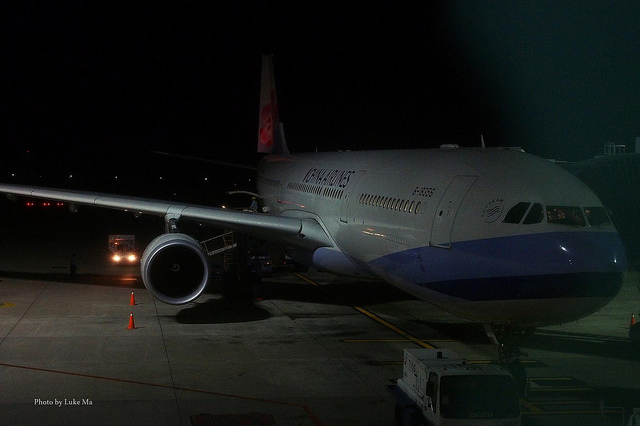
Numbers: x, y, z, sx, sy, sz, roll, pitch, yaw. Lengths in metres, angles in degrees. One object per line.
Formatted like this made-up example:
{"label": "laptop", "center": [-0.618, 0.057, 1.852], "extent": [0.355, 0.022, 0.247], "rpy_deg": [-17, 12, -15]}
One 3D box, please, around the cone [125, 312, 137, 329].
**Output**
{"label": "cone", "center": [-6.021, 3.469, 15.888], "extent": [0.411, 0.386, 0.381], "rpy_deg": [0, 0, -4]}

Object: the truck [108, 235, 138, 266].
{"label": "truck", "center": [-11.814, 2.196, 29.849], "extent": [1.928, 1.702, 0.772], "rpy_deg": [6, -6, -7]}

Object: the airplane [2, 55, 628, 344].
{"label": "airplane", "center": [0.142, 0.259, 16.077], "extent": [9.612, 5.547, 16.755], "rpy_deg": [-1, 4, -36]}

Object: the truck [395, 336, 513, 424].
{"label": "truck", "center": [2.409, 3.100, 9.580], "extent": [1.617, 1.016, 2.277], "rpy_deg": [0, -1, -7]}
